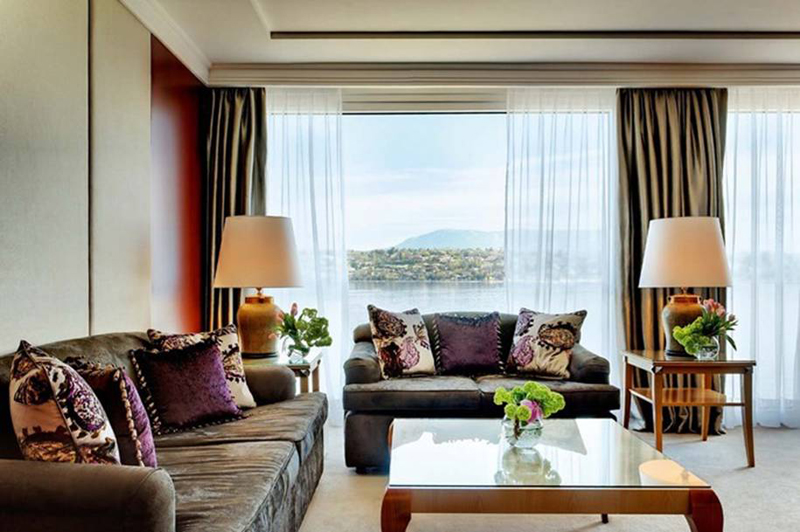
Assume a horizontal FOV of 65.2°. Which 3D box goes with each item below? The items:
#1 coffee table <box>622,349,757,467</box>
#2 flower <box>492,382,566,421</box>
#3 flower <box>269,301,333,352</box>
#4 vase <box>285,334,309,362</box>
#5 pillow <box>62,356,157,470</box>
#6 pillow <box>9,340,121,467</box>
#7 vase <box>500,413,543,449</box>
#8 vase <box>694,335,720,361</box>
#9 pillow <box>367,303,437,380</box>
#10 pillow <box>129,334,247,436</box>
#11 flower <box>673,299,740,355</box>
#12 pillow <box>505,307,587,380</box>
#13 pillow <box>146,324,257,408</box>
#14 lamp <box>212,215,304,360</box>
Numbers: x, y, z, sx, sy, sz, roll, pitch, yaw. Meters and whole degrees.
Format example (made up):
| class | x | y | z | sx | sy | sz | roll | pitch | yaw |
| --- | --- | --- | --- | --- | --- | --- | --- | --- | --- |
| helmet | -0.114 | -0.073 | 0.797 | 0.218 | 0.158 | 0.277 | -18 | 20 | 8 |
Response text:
| class | x | y | z | sx | sy | sz | roll | pitch | yaw |
| --- | --- | --- | --- | --- | --- | --- | --- | --- | --- |
| coffee table | 2.214 | 0.949 | 5.014 | 1.133 | 0.931 | 0.866 | 1 | -10 | 2 |
| flower | 0.759 | 0.808 | 3.688 | 0.409 | 0.273 | 0.374 | 6 | -6 | 15 |
| flower | -0.747 | 0.466 | 4.771 | 0.366 | 0.314 | 0.410 | 1 | 6 | -24 |
| vase | -0.789 | 0.631 | 4.756 | 0.200 | 0.171 | 0.222 | 2 | -9 | -14 |
| pillow | -1.505 | 0.782 | 3.175 | 0.580 | 0.537 | 0.300 | -8 | -18 | 40 |
| pillow | -1.586 | 0.688 | 3.002 | 0.451 | 0.702 | 0.775 | 2 | -5 | -34 |
| vase | 0.695 | 0.943 | 3.590 | 0.184 | 0.175 | 0.190 | -3 | -4 | 44 |
| vase | 2.342 | 0.624 | 4.789 | 0.191 | 0.214 | 0.179 | -1 | 0 | -1 |
| pillow | 0.035 | 0.616 | 5.004 | 0.309 | 0.544 | 0.607 | 6 | 2 | 43 |
| pillow | -1.317 | 0.743 | 3.853 | 0.202 | 0.627 | 0.678 | -38 | -14 | 26 |
| flower | 2.369 | 0.474 | 4.821 | 0.377 | 0.397 | 0.366 | 15 | 0 | -43 |
| pillow | 1.090 | 0.566 | 4.849 | 0.545 | 0.535 | 0.169 | -1 | -21 | 44 |
| pillow | -1.287 | 0.672 | 4.040 | 0.637 | 0.539 | 0.313 | -1 | -2 | -37 |
| lamp | -1.054 | 0.173 | 4.902 | 0.759 | 1.118 | 0.753 | -8 | -14 | 18 |
